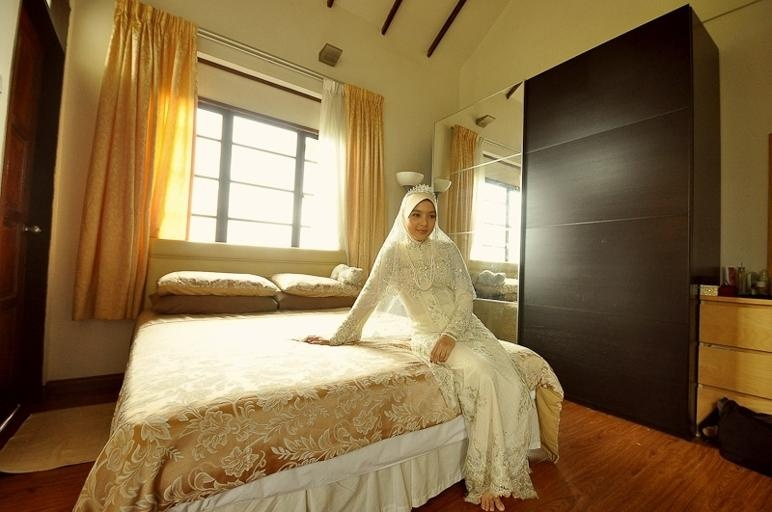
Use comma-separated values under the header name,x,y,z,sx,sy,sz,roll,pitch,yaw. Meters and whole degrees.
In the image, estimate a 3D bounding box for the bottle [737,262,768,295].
name,x,y,z,sx,sy,sz,roll,pitch,yaw
bottle,3.103,0.199,4.139,0.231,0.240,0.057,3,-8,37
